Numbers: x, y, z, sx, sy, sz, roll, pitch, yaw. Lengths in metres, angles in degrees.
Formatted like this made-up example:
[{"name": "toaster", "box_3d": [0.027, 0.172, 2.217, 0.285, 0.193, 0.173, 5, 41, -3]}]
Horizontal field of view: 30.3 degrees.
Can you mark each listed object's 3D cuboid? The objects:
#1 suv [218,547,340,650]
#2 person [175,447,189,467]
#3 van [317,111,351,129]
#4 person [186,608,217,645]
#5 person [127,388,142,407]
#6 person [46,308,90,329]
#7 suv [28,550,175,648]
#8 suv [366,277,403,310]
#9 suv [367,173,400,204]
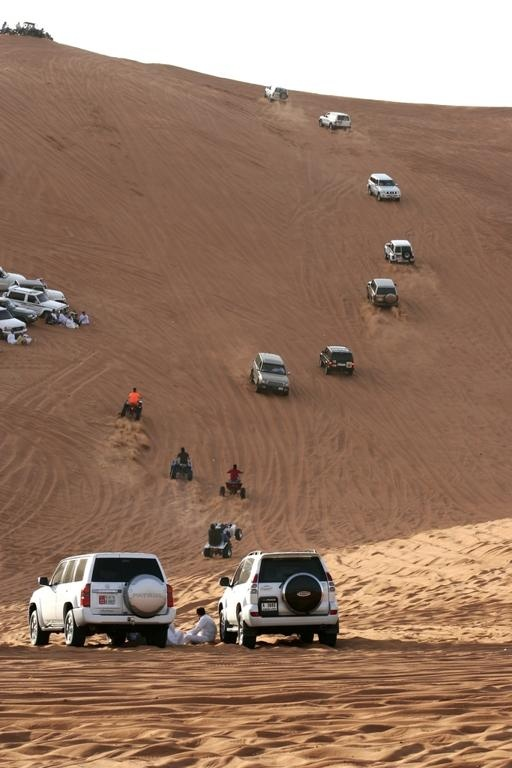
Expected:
[{"name": "suv", "box_3d": [0.246, 2.712, 12.236, 1.029, 0.917, 1.770, 1, -2, -8]}, {"name": "person", "box_3d": [-2.133, 2.125, 27.412, 0.352, 0.521, 0.830, 2, -5, -6]}, {"name": "van", "box_3d": [5.327, -18.608, 66.512, 1.221, 1.161, 2.165, -8, 29, -24]}, {"name": "person", "box_3d": [-0.752, 3.330, 12.980, 0.379, 0.476, 0.782, 1, -5, 6]}, {"name": "person", "box_3d": [-3.804, 0.445, 29.696, 0.396, 0.479, 0.818, 2, 12, -7]}, {"name": "person", "box_3d": [-7.372, -2.496, 36.756, 1.111, 0.360, 0.809, 1, 12, -37]}, {"name": "suv", "box_3d": [-2.101, 2.852, 12.541, 1.166, 0.944, 2.097, 5, -8, -22]}, {"name": "suv", "box_3d": [5.684, -4.110, 43.139, 0.926, 0.786, 1.770, 0, 20, -4]}, {"name": "suv", "box_3d": [7.348, -11.274, 54.823, 1.164, 1.090, 2.377, -9, 29, -12]}]
